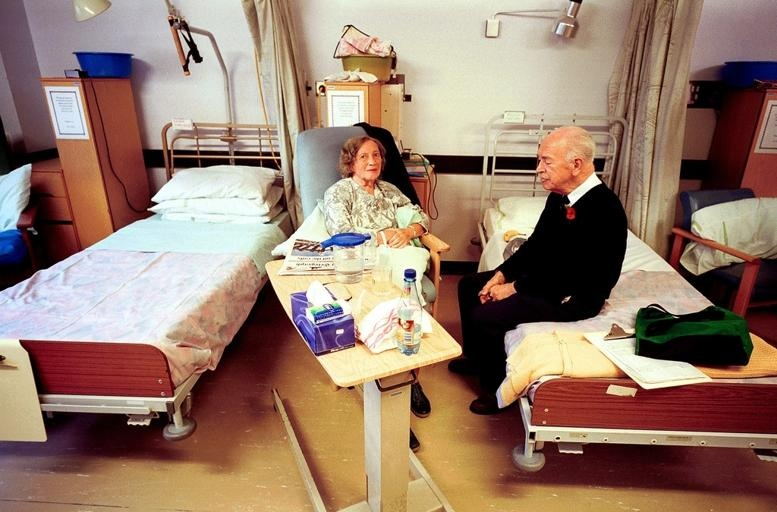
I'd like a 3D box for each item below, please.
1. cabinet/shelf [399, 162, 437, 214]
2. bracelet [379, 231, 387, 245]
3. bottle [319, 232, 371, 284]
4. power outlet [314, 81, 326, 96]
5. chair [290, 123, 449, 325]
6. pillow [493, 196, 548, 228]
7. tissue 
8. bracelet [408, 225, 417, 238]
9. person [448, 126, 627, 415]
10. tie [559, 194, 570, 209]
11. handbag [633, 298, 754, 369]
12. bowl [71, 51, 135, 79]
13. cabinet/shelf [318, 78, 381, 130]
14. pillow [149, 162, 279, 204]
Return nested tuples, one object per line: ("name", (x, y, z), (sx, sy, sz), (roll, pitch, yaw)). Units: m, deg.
("cabinet/shelf", (0.231, -0.564, 4.447), (0.187, 0.390, 0.418), (-4, 41, 6))
("bracelet", (-0.030, -0.124, 3.835), (0.056, 0.078, 0.096), (-9, 23, -16))
("bottle", (-0.234, -0.003, 3.290), (0.328, 0.277, 0.206), (-10, 26, -18))
("power outlet", (-0.514, -1.315, 4.339), (0.086, 0.105, 0.037), (13, 27, 32))
("chair", (-0.211, -0.376, 4.286), (1.248, 1.618, 1.543), (-6, 23, -13))
("pillow", (1.152, -0.381, 4.649), (0.333, 0.082, 0.308), (-2, 32, -1))
("tissue ", (-0.342, 0.314, 2.915), (0.264, 0.259, 0.374), (-11, 24, -22))
("bracelet", (0.175, -0.177, 3.952), (0.031, 0.070, 0.067), (-8, -4, -12))
("person", (1.005, 0.084, 3.732), (1.125, 1.763, 0.841), (-5, 17, -4))
("tie", (1.136, -0.352, 3.557), (0.065, 0.078, 0.066), (9, 36, -4))
("handbag", (1.705, 0.437, 3.122), (0.503, 0.177, 0.384), (-2, 16, 14))
("bowl", (-2.395, -1.559, 4.669), (0.376, 0.131, 0.316), (-2, 14, -13))
("cabinet/shelf", (-0.224, -1.178, 4.514), (0.620, 0.552, 0.335), (0, 17, 1))
("pillow", (-1.446, -0.614, 4.671), (0.587, 0.130, 0.493), (1, 22, 2))
